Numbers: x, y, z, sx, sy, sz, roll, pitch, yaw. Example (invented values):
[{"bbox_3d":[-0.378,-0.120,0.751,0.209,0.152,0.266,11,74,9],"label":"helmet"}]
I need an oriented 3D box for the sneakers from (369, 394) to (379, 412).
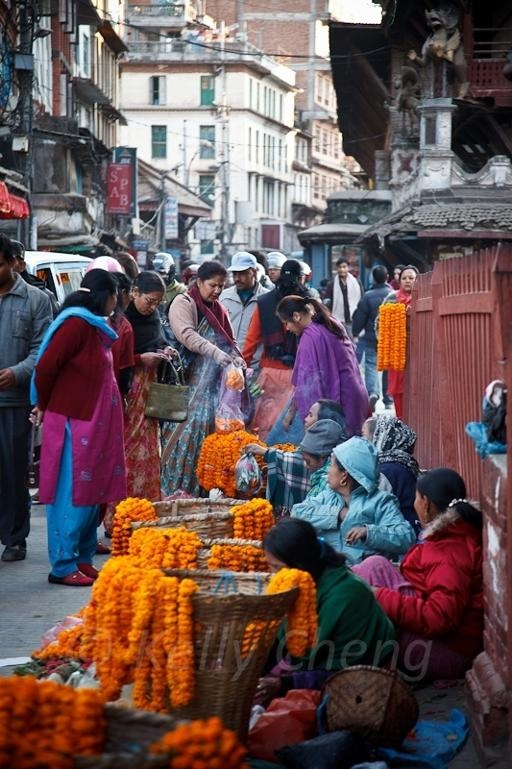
[{"bbox_3d":[1.473,0.238,11.988,0.102,0.292,0.209,-1,31,3],"label":"sneakers"}]

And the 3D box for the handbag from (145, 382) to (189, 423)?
[{"bbox_3d":[-0.565,0.118,5.984,0.252,0.243,0.059,7,-11,-5],"label":"handbag"}]

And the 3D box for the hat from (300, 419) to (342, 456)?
[{"bbox_3d":[0.345,0.286,4.984,0.214,0.158,0.153,4,-1,34],"label":"hat"}]

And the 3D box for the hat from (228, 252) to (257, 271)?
[{"bbox_3d":[-0.102,-0.995,7.743,0.149,0.108,0.212,0,11,8],"label":"hat"}]

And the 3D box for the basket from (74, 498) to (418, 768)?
[{"bbox_3d":[-0.084,0.725,3.093,0.708,0.376,0.839,1,-1,-32],"label":"basket"}]
